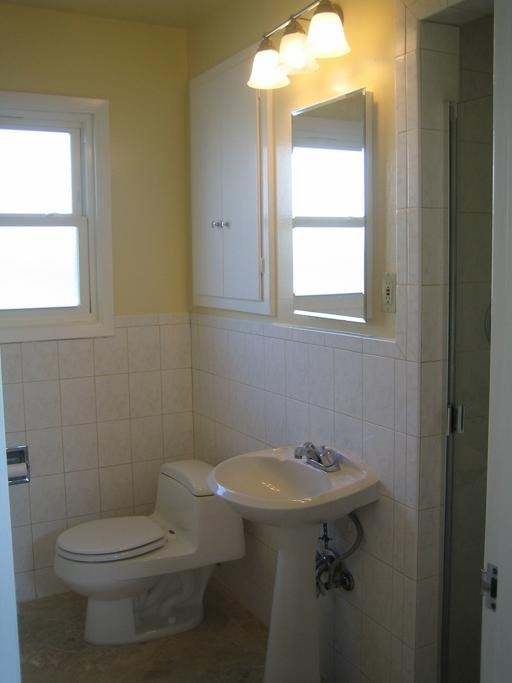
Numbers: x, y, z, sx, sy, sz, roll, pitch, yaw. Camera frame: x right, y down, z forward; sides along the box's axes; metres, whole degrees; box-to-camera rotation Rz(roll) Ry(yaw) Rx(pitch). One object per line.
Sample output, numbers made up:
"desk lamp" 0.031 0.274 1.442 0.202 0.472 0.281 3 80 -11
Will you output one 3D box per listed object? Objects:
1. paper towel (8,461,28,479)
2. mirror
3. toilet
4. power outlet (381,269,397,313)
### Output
"paper towel" -1.085 0.598 2.553 0.086 0.106 0.051 -4 6 -26
"mirror" 0.230 -0.425 1.805 0.037 0.705 0.441 -3 6 -25
"toilet" -0.496 0.813 2.523 0.730 0.907 0.584 3 -7 -24
"power outlet" 0.380 -0.139 1.586 0.021 0.116 0.080 -2 5 -10
